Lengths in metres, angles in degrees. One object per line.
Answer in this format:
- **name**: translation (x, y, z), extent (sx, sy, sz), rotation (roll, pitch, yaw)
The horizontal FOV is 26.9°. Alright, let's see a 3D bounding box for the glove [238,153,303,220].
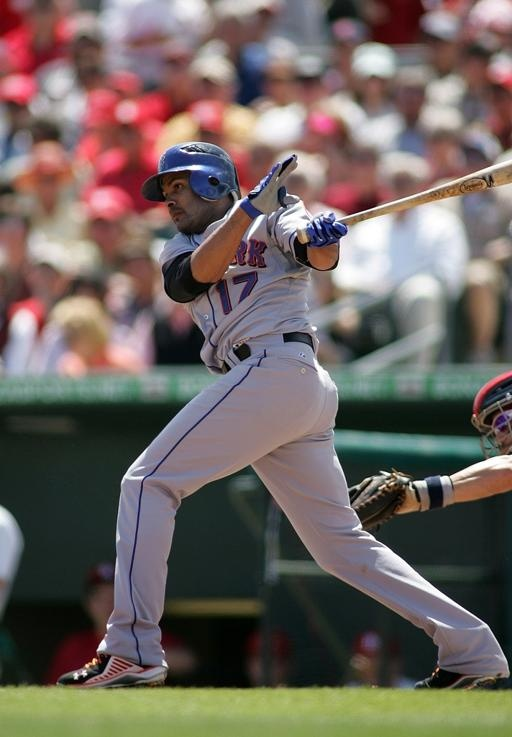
- **glove**: translation (0.028, -0.450, 2.726), extent (0.115, 0.159, 0.209), rotation (9, 27, 37)

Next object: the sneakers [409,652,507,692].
- **sneakers**: translation (0.545, 0.823, 2.934), extent (0.299, 0.100, 0.095), rotation (-3, -6, 18)

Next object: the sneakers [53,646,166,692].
- **sneakers**: translation (-0.336, 0.748, 2.676), extent (0.304, 0.110, 0.093), rotation (2, -16, -2)

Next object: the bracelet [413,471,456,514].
- **bracelet**: translation (0.507, 0.353, 3.080), extent (0.129, 0.040, 0.086), rotation (-14, -11, -1)

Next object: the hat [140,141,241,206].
- **hat**: translation (-0.169, -0.529, 3.013), extent (0.289, 0.146, 0.188), rotation (0, -22, -12)

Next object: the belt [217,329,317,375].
- **belt**: translation (0.029, -0.056, 2.837), extent (0.174, 0.079, 0.126), rotation (-14, -11, 3)

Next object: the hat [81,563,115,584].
- **hat**: translation (-0.686, 0.906, 4.726), extent (0.098, 0.077, 0.117), rotation (5, -17, 16)

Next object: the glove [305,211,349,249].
- **glove**: translation (0.169, -0.342, 2.634), extent (0.105, 0.087, 0.127), rotation (-8, 21, 2)
